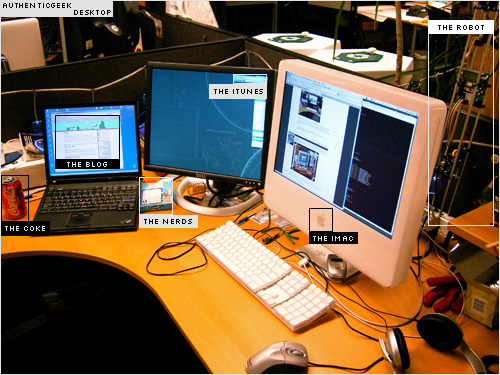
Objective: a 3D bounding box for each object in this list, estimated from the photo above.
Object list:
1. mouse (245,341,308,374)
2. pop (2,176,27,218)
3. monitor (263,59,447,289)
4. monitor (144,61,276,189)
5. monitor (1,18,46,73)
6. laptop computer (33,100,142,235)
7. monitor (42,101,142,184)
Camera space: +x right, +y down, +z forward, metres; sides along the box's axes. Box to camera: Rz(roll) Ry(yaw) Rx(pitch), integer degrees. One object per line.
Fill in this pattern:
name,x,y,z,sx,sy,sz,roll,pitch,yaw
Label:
mouse,0.070,0.455,1.001,0.164,0.060,0.065,-6,29,-14
pop,-0.912,0.048,1.526,0.090,0.151,0.105,-7,34,-21
monitor,0.270,-0.066,1.168,0.166,0.539,0.571,-22,36,-37
monitor,-0.173,-0.243,1.484,0.515,0.438,0.055,9,19,15
monitor,-1.263,-0.781,2.089,0.087,0.258,0.240,19,33,30
laptop computer,-0.641,-0.086,1.473,0.427,0.303,0.467,-6,38,-10
monitor,-0.646,-0.187,1.579,0.382,0.326,0.026,-8,17,-34
